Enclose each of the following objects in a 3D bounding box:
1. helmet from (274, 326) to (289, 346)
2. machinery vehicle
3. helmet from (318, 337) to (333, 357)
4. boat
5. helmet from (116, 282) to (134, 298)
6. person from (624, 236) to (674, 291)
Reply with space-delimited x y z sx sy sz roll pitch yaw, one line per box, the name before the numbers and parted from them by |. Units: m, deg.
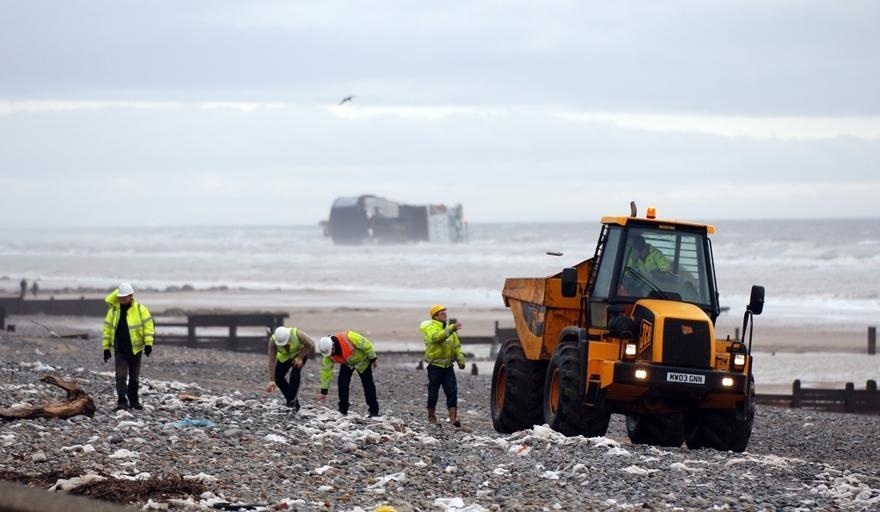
helmet | -5.071 2.512 45.327 0.448 0.552 0.306 -4 -8 3
machinery vehicle | 5.813 2.168 43.803 7.780 7.505 2.712 4 7 11
helmet | -3.626 2.823 44.884 0.484 0.614 0.345 -4 -10 14
boat | -1.981 -1.314 53.886 5.587 1.787 1.696 -2 8 -33
helmet | -9.877 1.045 44.617 0.437 0.280 0.513 0 4 -1
person | 6.302 0.203 43.732 1.003 1.896 1.214 4 -1 -23
